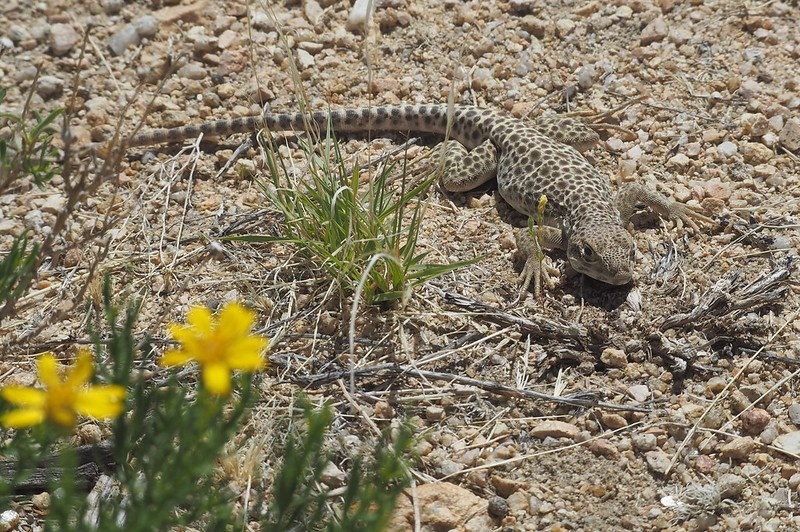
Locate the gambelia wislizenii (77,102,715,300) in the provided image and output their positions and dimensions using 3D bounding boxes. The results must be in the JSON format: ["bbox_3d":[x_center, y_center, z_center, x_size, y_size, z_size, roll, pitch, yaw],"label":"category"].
[{"bbox_3d":[0.059,-0.386,5.625,3.535,1.387,1.186,2,94,34],"label":"gambelia wislizenii"}]
